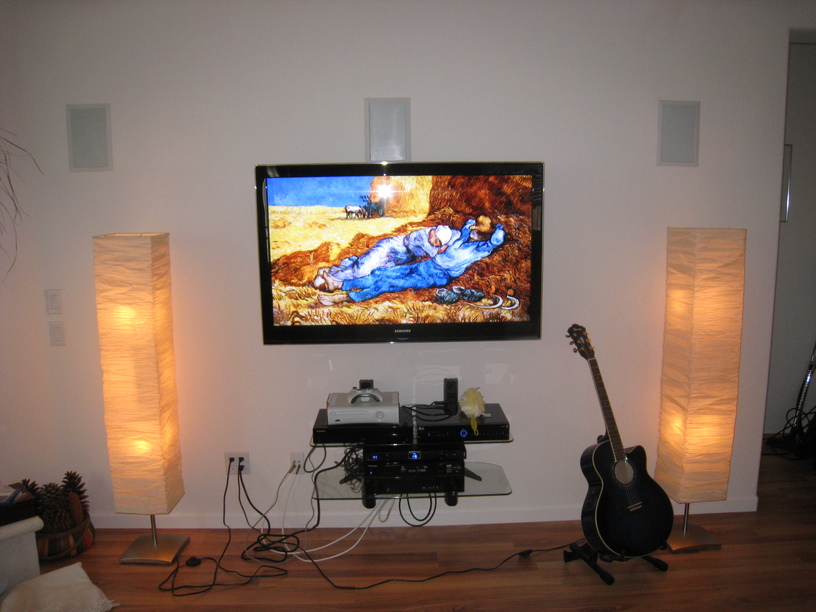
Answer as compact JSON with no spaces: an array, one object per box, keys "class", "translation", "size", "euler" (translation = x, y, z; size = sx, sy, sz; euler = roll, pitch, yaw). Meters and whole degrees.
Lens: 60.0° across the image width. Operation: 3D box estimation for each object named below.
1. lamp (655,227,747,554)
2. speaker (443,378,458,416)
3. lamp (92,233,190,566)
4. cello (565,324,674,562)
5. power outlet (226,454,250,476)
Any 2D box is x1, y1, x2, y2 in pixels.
[{"class":"lamp","translation":[1.809,0.366,4.319],"size":[0.510,1.673,0.202],"euler":[-1,7,18]},{"class":"speaker","translation":[0.276,0.558,4.428],"size":[0.095,0.213,0.187],"euler":[-2,6,4]},{"class":"lamp","translation":[-1.653,0.477,4.336],"size":[0.380,1.826,0.314],"euler":[-2,7,3]},{"class":"cello","translation":[1.259,0.787,4.122],"size":[0.571,1.324,0.311],"euler":[-1,7,17]},{"class":"power outlet","translation":[-1.107,1.004,4.503],"size":[0.138,0.123,0.032],"euler":[3,-1,0]}]
